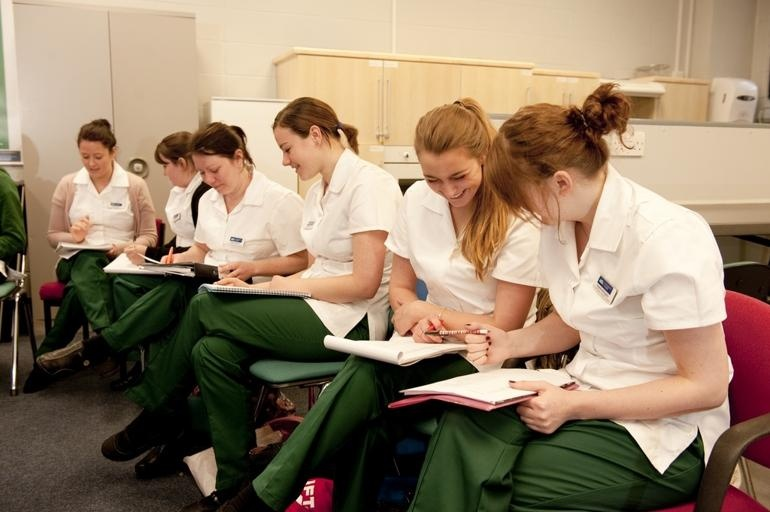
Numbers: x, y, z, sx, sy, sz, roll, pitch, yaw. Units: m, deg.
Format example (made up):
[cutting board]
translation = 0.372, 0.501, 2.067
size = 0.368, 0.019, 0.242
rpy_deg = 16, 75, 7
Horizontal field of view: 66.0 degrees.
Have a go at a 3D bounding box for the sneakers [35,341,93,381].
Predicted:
[sneakers]
translation = -1.858, 0.591, 3.396
size = 0.364, 0.154, 0.160
rpy_deg = -16, -7, 4

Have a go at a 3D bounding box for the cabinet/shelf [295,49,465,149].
[cabinet/shelf]
translation = -0.125, -1.397, 5.498
size = 1.356, 0.875, 0.451
rpy_deg = -6, 14, -32

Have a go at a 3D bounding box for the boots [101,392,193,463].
[boots]
translation = -1.148, 0.855, 2.890
size = 0.422, 0.185, 0.142
rpy_deg = -32, 51, -4

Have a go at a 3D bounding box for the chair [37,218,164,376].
[chair]
translation = -1.834, 0.231, 3.859
size = 0.517, 0.883, 1.259
rpy_deg = 8, 18, -4
